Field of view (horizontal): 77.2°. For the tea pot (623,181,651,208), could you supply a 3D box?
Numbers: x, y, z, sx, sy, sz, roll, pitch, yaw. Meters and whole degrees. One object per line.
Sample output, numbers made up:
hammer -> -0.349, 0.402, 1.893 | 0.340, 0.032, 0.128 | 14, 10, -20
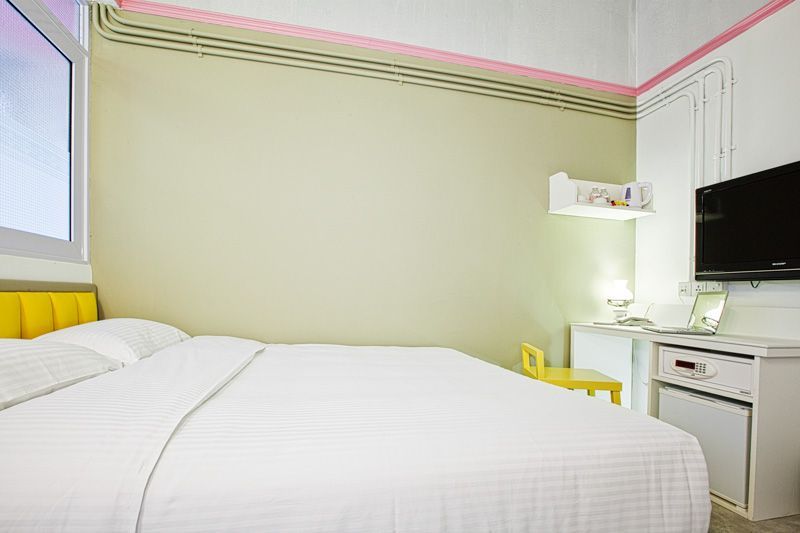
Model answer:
tea pot -> 2.009, -0.597, 4.259 | 0.173, 0.251, 0.251 | 4, -3, -41

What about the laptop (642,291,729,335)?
laptop -> 2.056, 0.325, 3.634 | 0.474, 0.311, 0.461 | 0, -4, 11
